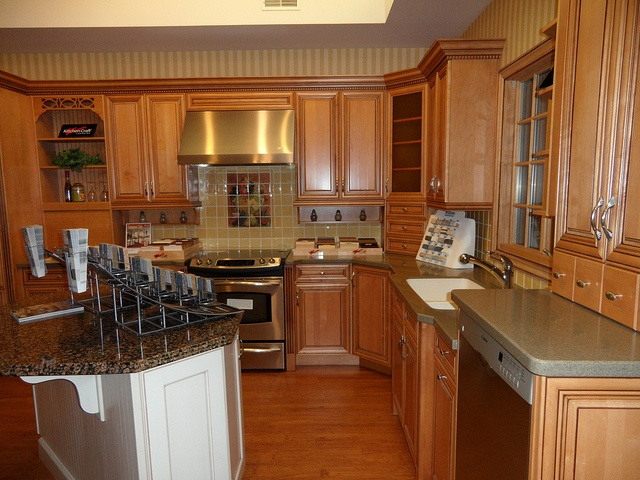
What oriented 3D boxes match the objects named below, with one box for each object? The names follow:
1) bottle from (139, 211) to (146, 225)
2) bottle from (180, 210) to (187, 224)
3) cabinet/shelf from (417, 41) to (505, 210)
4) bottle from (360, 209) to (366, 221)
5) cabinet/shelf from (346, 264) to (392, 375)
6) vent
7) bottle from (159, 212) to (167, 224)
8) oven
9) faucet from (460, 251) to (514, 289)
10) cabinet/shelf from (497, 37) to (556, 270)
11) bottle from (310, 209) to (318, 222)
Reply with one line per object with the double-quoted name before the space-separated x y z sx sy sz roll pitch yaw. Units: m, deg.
"bottle" -1.689 -0.209 4.730 0.060 0.097 0.041 -3 -7 -1
"bottle" -1.285 -0.207 4.700 0.068 0.108 0.047 -3 -7 -12
"cabinet/shelf" 0.946 -0.791 3.561 0.372 1.131 0.602 -8 10 -33
"bottle" 0.398 -0.229 4.652 0.068 0.105 0.100 -1 8 11
"cabinet/shelf" 0.411 0.609 4.108 0.095 0.794 0.381 -9 11 -37
"vent" -0.843 -0.837 4.502 1.021 0.226 0.691 -9 -1 -24
"bottle" -1.492 -0.207 4.747 0.067 0.109 0.122 -5 8 -16
"oven" -0.638 0.541 4.413 0.898 0.812 0.599 -1 -4 0
"faucet" 0.966 0.166 2.895 0.221 0.163 0.387 -3 7 -4
"cabinet/shelf" 1.272 -0.489 3.130 0.243 1.339 0.679 -2 8 5
"bottle" -0.059 -0.218 4.623 0.096 0.126 0.095 0 -3 0
